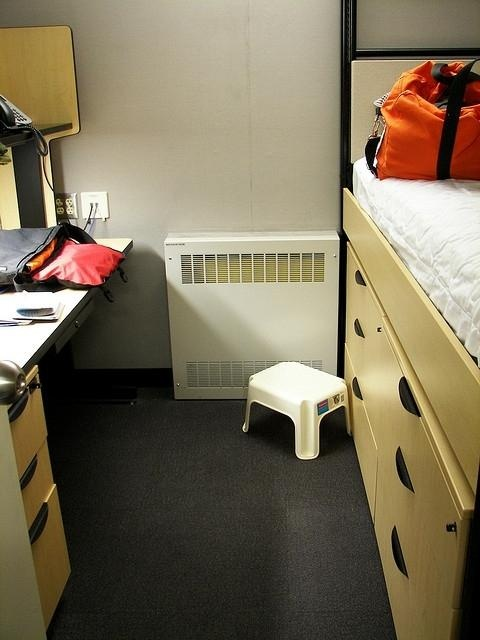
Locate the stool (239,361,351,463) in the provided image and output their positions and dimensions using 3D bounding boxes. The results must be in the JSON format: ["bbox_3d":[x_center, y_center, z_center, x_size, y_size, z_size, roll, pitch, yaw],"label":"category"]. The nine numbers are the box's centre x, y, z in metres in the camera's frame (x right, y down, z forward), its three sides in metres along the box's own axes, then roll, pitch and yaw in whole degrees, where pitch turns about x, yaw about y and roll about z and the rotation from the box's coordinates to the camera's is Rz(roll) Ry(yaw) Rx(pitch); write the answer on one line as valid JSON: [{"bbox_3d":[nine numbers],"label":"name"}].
[{"bbox_3d":[0.231,0.378,1.960,0.427,0.289,0.317,11,18,39],"label":"stool"}]
